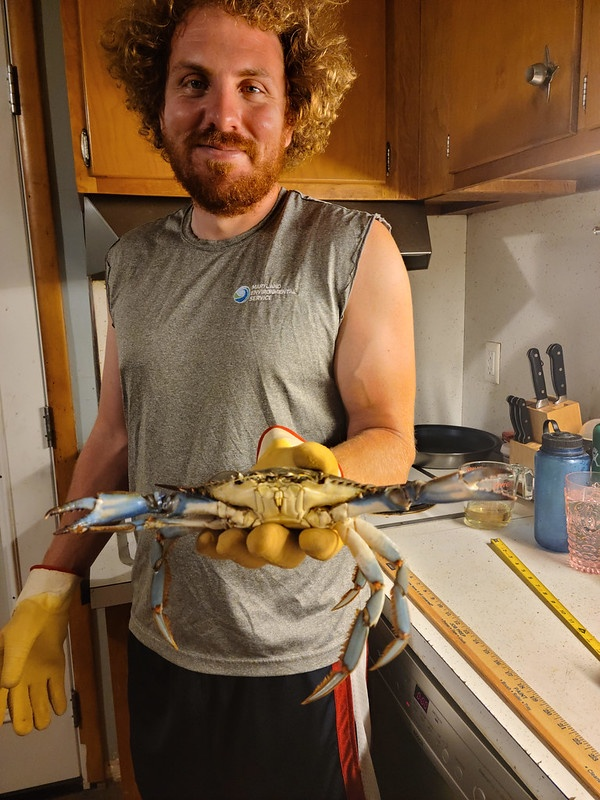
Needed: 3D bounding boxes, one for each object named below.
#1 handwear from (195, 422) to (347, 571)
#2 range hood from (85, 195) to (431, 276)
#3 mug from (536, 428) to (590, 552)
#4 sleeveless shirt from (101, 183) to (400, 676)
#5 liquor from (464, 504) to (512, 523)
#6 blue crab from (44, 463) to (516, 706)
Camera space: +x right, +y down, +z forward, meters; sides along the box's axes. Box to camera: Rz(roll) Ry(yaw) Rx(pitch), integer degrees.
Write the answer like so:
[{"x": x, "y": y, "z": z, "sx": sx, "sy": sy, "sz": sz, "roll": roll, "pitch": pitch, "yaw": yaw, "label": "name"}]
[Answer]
[{"x": -0.025, "y": 0.105, "z": 0.744, "sx": 0.204, "sy": 0.065, "sz": 0.205, "roll": -6, "pitch": 38, "yaw": 21, "label": "handwear"}, {"x": -0.219, "y": -0.421, "z": 1.563, "sx": 0.881, "sy": 0.218, "sz": 0.356, "roll": -3, "pitch": 20, "yaw": -19, "label": "range hood"}, {"x": 0.471, "y": 0.167, "z": 1.303, "sx": 0.132, "sy": 0.201, "sz": 0.116, "roll": -4, "pitch": 6, "yaw": -28, "label": "mug"}, {"x": -0.111, "y": 0.036, "z": 1.094, "sx": 0.441, "sy": 0.712, "sz": 0.289, "roll": 2, "pitch": 6, "yaw": 14, "label": "sleeveless shirt"}, {"x": 0.392, "y": 0.232, "z": 1.388, "sx": 0.059, "sy": 0.036, "sz": 0.061, "roll": 2, "pitch": 1, "yaw": 19, "label": "liquor"}, {"x": -0.004, "y": 0.183, "z": 0.714, "sx": 0.455, "sy": 0.255, "sz": 0.126, "roll": -7, "pitch": 13, "yaw": 2, "label": "blue crab"}]
